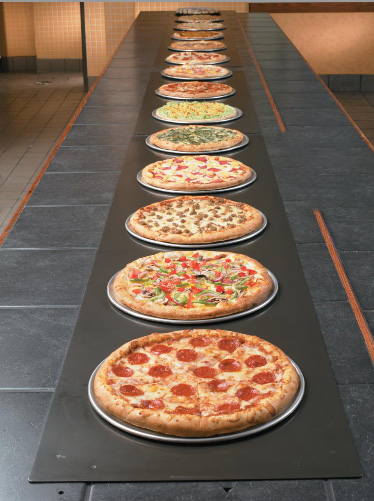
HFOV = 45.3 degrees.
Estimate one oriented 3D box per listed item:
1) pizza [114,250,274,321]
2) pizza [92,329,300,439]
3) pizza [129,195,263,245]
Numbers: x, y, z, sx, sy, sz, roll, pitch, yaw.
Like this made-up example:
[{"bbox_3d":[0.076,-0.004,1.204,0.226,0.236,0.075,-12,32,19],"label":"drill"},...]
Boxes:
[{"bbox_3d":[0.010,0.062,0.907,0.312,0.075,0.246,0,13,-10],"label":"pizza"},{"bbox_3d":[0.017,0.177,0.646,0.268,0.047,0.246,9,15,28],"label":"pizza"},{"bbox_3d":[0.023,-0.084,1.181,0.312,0.094,0.298,-9,17,-39],"label":"pizza"}]
